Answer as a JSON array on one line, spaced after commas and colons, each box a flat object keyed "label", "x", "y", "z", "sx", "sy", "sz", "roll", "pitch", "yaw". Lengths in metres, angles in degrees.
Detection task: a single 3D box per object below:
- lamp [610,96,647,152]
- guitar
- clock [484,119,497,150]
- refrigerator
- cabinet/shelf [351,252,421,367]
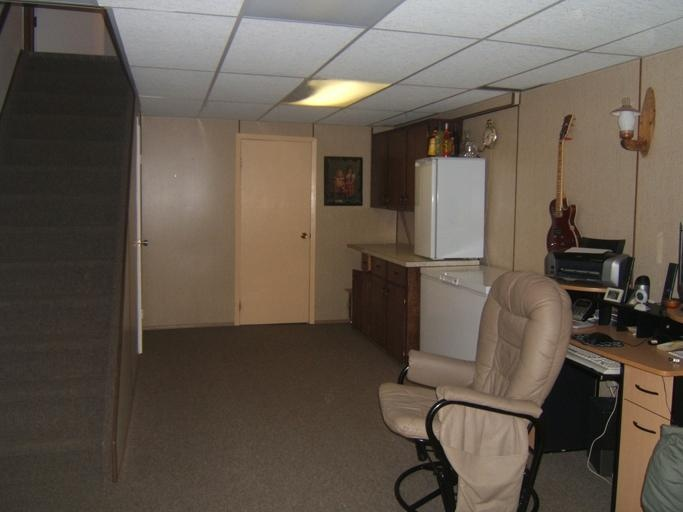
[{"label": "lamp", "x": 2.033, "y": -0.934, "z": 3.950, "sx": 0.240, "sy": 0.382, "sz": 0.208, "roll": 4, "pitch": 5, "yaw": 15}, {"label": "guitar", "x": 1.801, "y": -0.582, "z": 4.447, "sx": 0.232, "sy": 1.105, "sz": 0.532, "roll": 3, "pitch": 9, "yaw": 14}, {"label": "clock", "x": 1.488, "y": -1.226, "z": 5.561, "sx": 0.054, "sy": 0.290, "sz": 0.214, "roll": -2, "pitch": 9, "yaw": -14}, {"label": "refrigerator", "x": 1.117, "y": -0.489, "z": 5.703, "sx": 0.732, "sy": 1.040, "sz": 0.365, "roll": 2, "pitch": 9, "yaw": 8}, {"label": "cabinet/shelf", "x": 0.506, "y": 0.596, "z": 6.059, "sx": 0.306, "sy": 0.768, "sz": 1.082, "roll": 1, "pitch": 7, "yaw": -9}]
